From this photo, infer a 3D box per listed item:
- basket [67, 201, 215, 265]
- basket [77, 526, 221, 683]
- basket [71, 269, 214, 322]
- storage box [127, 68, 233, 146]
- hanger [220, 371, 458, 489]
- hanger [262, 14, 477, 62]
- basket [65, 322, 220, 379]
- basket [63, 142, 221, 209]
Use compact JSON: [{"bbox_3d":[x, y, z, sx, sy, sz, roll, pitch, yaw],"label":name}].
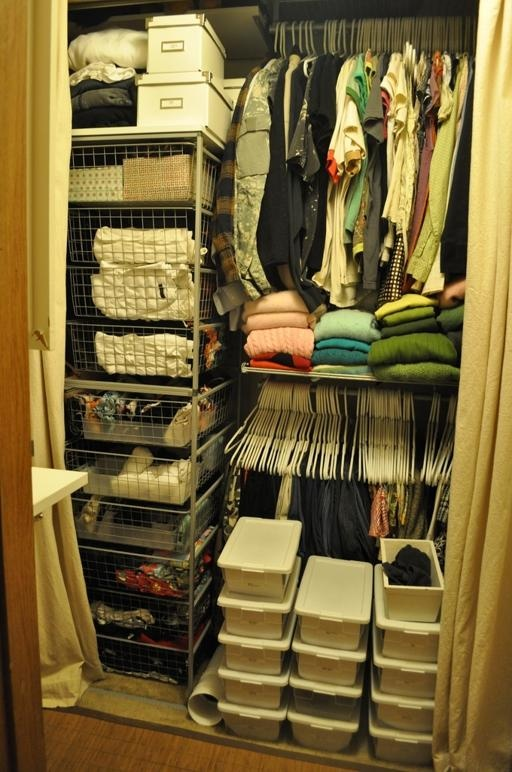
[{"bbox_3d":[-0.452,-0.575,2.414,0.405,0.285,0.621,-5,12,-3],"label":"basket"},{"bbox_3d":[-0.334,0.730,2.382,0.547,0.634,0.442,2,5,12],"label":"basket"},{"bbox_3d":[-0.401,-0.311,2.124,0.340,0.152,0.281,5,13,6],"label":"basket"},{"bbox_3d":[-0.223,-0.861,2.027,0.198,0.146,0.219,2,9,10],"label":"storage box"},{"bbox_3d":[0.305,0.180,2.223,0.610,0.298,0.433,4,8,10],"label":"hanger"},{"bbox_3d":[0.382,-1.170,2.107,0.675,0.130,0.096,6,14,18],"label":"hanger"},{"bbox_3d":[-0.409,-0.117,2.154,0.383,0.166,0.260,0,5,8],"label":"basket"},{"bbox_3d":[-0.379,-0.701,2.086,0.505,0.210,0.342,0,14,-4],"label":"basket"}]
